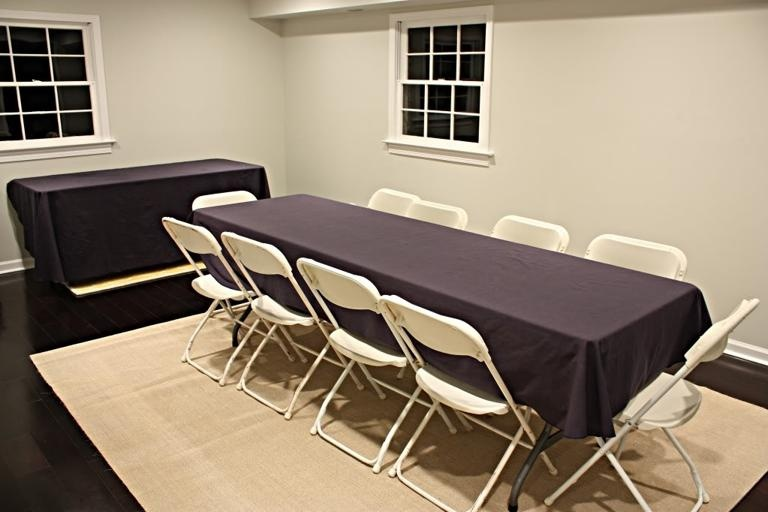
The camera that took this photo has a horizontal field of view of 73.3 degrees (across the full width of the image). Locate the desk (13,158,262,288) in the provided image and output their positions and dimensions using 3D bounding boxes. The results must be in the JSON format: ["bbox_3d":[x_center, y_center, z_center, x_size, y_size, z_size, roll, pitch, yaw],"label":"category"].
[{"bbox_3d":[-2.796,-0.408,6.042,2.200,0.903,1.312,-18,32,-37],"label":"desk"}]
